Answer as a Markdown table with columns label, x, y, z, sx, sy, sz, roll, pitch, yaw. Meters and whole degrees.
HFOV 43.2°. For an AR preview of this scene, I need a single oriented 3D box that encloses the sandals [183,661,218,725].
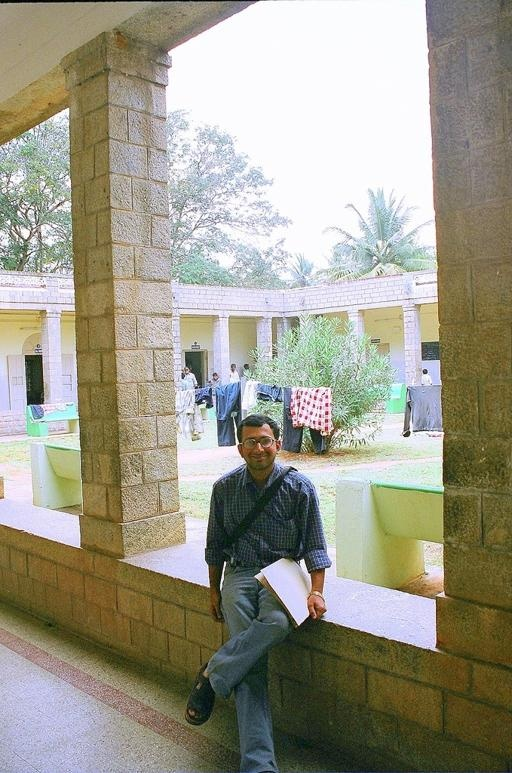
| label | x | y | z | sx | sy | sz | roll | pitch | yaw |
| --- | --- | --- | --- | --- | --- | --- | --- | --- | --- |
| sandals | -0.228 | 1.170 | 2.437 | 0.104 | 0.114 | 0.274 | 14 | -12 | 7 |

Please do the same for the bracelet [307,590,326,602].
| label | x | y | z | sx | sy | sz | roll | pitch | yaw |
| --- | --- | --- | --- | --- | --- | --- | --- | --- | --- |
| bracelet | 0.227 | 0.798 | 2.425 | 0.047 | 0.029 | 0.059 | 2 | 10 | -9 |

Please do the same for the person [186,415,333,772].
| label | x | y | z | sx | sy | sz | roll | pitch | yaw |
| --- | --- | --- | --- | --- | --- | --- | --- | --- | --- |
| person | 0.033 | 0.721 | 2.447 | 0.495 | 1.051 | 0.813 | -3 | 1 | 1 |

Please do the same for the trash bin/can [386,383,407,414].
| label | x | y | z | sx | sy | sz | roll | pitch | yaw |
| --- | --- | --- | --- | --- | --- | --- | --- | --- | --- |
| trash bin/can | 4.158 | 0.382 | 19.150 | 0.569 | 0.611 | 0.632 | -3 | 1 | 6 |
